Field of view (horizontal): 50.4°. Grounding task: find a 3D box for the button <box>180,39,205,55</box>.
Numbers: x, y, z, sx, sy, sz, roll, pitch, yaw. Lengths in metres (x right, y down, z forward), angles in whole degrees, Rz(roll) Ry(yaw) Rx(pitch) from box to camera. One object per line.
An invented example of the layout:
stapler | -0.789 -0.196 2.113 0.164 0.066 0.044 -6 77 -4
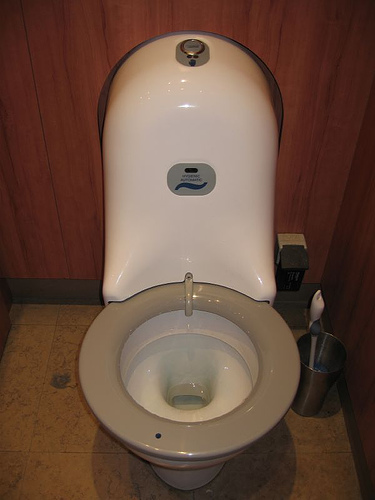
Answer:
button | 0.008 -0.359 0.703 0.043 0.013 0.039 3 45 2
